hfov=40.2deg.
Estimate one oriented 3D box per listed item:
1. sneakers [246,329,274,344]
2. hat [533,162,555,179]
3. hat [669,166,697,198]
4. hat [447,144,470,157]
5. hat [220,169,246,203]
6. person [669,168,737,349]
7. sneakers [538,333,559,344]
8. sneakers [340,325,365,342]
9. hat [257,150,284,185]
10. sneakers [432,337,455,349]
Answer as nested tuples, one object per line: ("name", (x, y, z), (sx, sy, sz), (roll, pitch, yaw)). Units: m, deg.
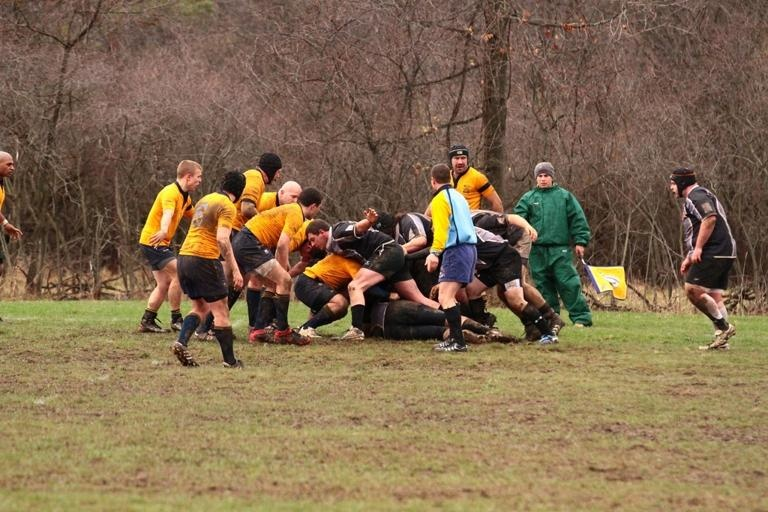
("sneakers", (-1.994, 1.279, 16.799), (0.367, 0.149, 0.197), (-2, -1, 2))
("hat", (2.811, -1.572, 18.580), (0.322, 0.300, 0.418), (0, -5, 20))
("hat", (4.788, -1.239, 17.156), (0.512, 0.518, 0.383), (2, 2, 22))
("hat", (1.285, -1.851, 18.483), (0.310, 0.226, 0.297), (0, 4, -20))
("hat", (-2.256, -1.053, 15.674), (0.319, 0.473, 0.315), (1, -3, -8))
("person", (5.096, 0.000, 16.782), (0.921, 2.930, 0.796), (-1, -3, 14))
("sneakers", (2.580, 1.307, 16.567), (0.309, 0.140, 0.120), (2, -2, -4))
("sneakers", (-0.512, 1.250, 16.979), (0.488, 0.196, 0.171), (-1, -1, -2))
("hat", (-1.919, -1.487, 17.423), (0.422, 0.479, 0.479), (16, 2, 37))
("sneakers", (0.877, 1.347, 16.325), (0.394, 0.173, 0.131), (-1, 27, 13))
